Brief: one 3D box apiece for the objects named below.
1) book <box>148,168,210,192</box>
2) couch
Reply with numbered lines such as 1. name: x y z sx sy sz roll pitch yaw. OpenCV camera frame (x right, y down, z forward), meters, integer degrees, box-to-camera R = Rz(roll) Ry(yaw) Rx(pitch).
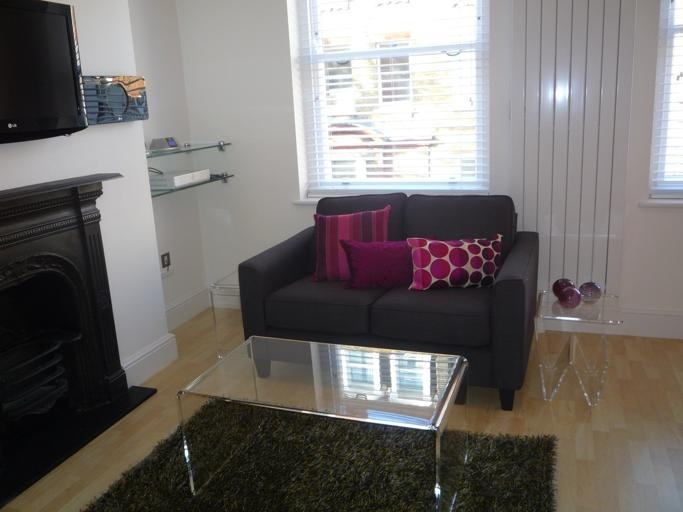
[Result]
1. book: -1.172 -0.550 3.638 0.283 0.117 0.515 6 22 22
2. couch: 0.343 0.200 3.397 1.760 1.166 1.001 2 9 25
